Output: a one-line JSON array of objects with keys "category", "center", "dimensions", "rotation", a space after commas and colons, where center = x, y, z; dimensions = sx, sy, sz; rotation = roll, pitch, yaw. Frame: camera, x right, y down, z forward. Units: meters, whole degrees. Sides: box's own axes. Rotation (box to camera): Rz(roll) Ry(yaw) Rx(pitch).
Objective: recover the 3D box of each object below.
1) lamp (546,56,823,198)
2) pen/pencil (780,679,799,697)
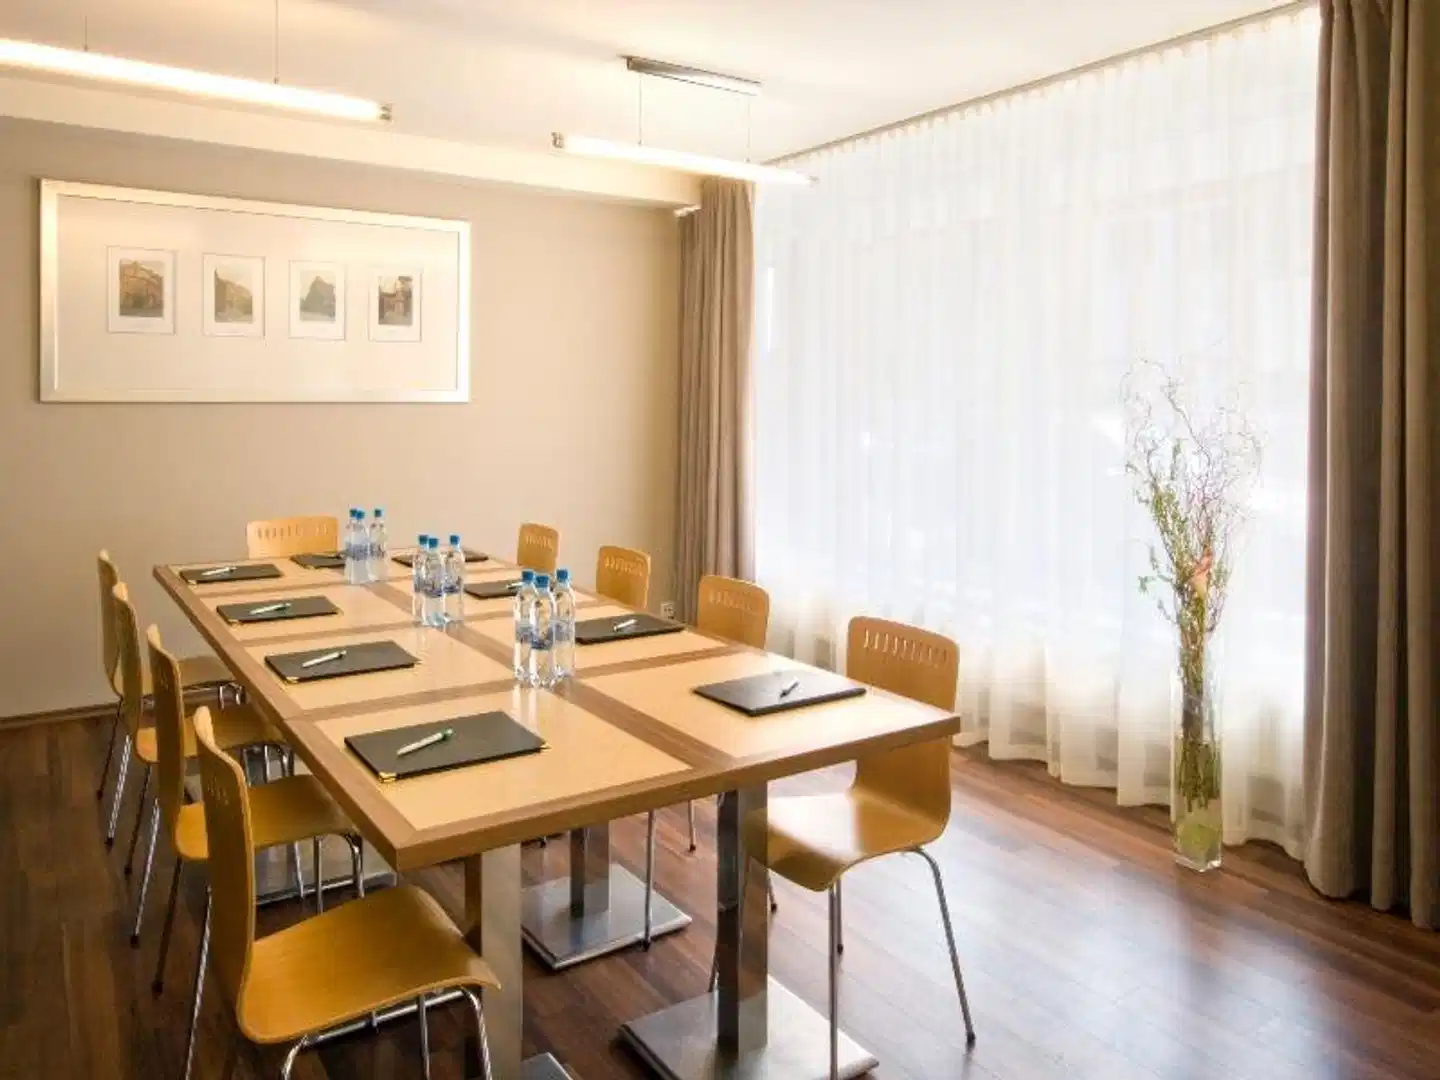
[{"category": "lamp", "center": [-0.116, -1.969, 5.264], "dimensions": [0.934, 0.517, 2.111], "rotation": [1, 14, 3]}, {"category": "pen/pencil", "center": [0.206, 0.445, 3.304], "dimensions": [0.020, 0.007, 0.149], "rotation": [14, 9, 16]}]
